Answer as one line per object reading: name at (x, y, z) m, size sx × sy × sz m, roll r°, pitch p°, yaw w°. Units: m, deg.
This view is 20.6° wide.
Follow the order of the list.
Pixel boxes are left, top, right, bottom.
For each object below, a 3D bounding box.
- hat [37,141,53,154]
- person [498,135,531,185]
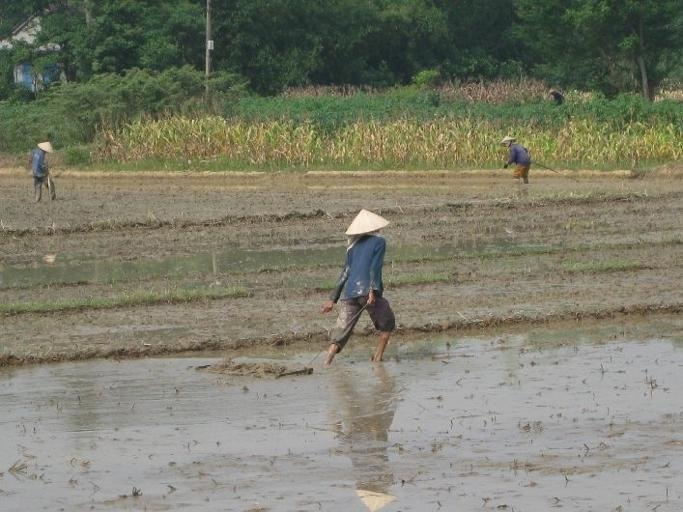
hat at (-11.309, -3.985, 71.001) m, size 0.587 × 0.252 × 0.596 m, roll 26°, pitch 21°, yaw 2°
person at (6.589, -3.605, 71.744) m, size 1.060 × 1.817 × 1.500 m, roll -3°, pitch 7°, yaw 4°
